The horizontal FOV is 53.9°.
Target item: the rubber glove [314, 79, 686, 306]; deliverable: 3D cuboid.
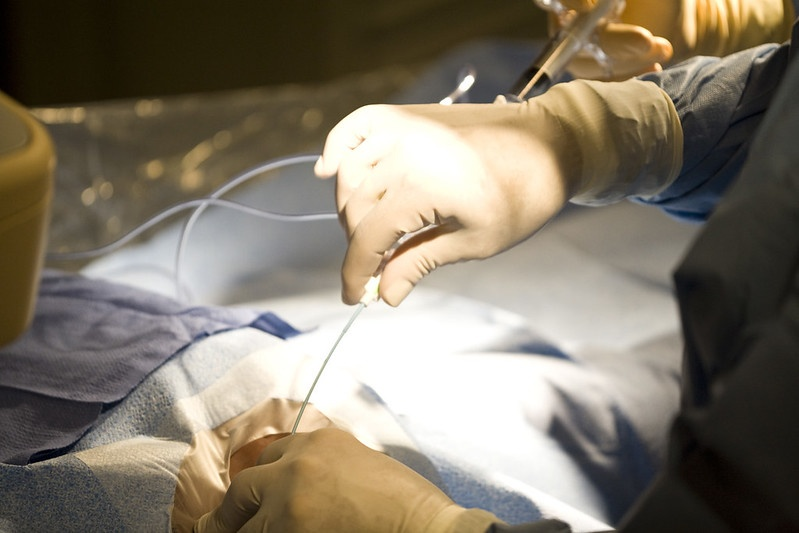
[{"bbox_3d":[0.172,-0.176,1.248,0.506,0.190,0.348,-18,59,4],"label":"rubber glove"}]
